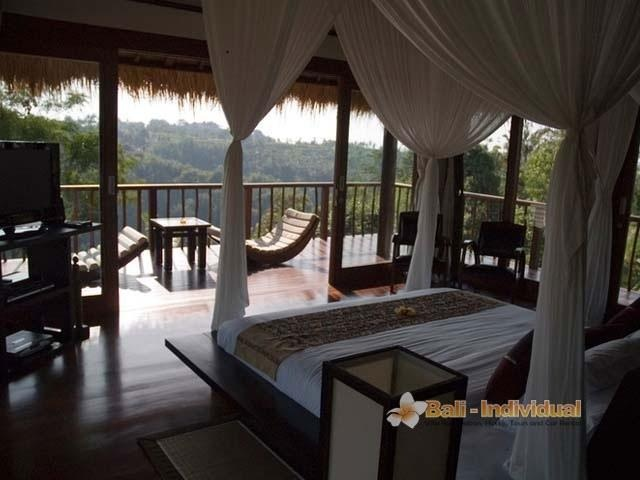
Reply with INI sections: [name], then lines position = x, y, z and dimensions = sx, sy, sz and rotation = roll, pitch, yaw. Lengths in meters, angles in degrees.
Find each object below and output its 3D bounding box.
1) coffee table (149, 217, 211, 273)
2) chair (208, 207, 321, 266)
[coffee table]
position = -1.806, -0.061, 5.861
dimensions = 0.659, 0.741, 0.684
rotation = -5, 12, -29
[chair]
position = -0.590, -0.007, 6.104
dimensions = 1.069, 0.636, 0.832
rotation = -7, 15, -18
